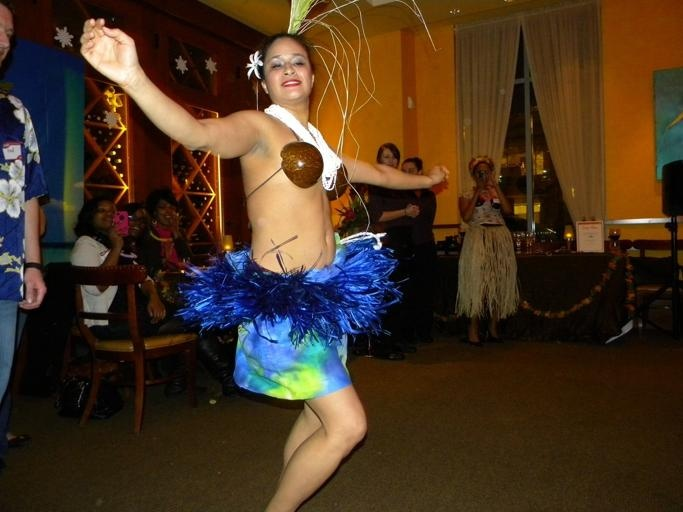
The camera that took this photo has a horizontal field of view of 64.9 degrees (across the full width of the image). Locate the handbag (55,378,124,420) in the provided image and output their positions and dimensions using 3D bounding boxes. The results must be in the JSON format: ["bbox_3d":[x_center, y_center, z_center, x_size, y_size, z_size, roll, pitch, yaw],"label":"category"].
[{"bbox_3d":[-1.662,0.934,3.601,0.271,0.139,0.345,4,14,0],"label":"handbag"}]

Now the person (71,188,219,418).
[{"bbox_3d":[-1.449,0.194,4.375,1.152,1.759,1.139,-2,3,-16],"label":"person"}]

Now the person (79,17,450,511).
[{"bbox_3d":[-0.276,0.049,2.167,1.203,1.889,0.602,-3,8,-14],"label":"person"}]

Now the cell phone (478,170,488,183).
[{"bbox_3d":[1.291,-0.722,4.915,0.108,0.113,0.031,-3,-4,5],"label":"cell phone"}]

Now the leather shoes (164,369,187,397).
[{"bbox_3d":[-1.197,0.898,3.825,0.136,0.145,0.329,4,-17,-4],"label":"leather shoes"}]

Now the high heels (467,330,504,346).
[{"bbox_3d":[1.397,0.803,5.198,0.371,0.159,0.137,-5,-3,-3],"label":"high heels"}]

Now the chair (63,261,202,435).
[{"bbox_3d":[-1.399,0.557,3.597,0.566,1.051,0.692,0,4,20],"label":"chair"}]

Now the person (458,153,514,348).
[{"bbox_3d":[1.405,-0.050,5.157,0.579,1.767,0.483,1,8,18],"label":"person"}]
